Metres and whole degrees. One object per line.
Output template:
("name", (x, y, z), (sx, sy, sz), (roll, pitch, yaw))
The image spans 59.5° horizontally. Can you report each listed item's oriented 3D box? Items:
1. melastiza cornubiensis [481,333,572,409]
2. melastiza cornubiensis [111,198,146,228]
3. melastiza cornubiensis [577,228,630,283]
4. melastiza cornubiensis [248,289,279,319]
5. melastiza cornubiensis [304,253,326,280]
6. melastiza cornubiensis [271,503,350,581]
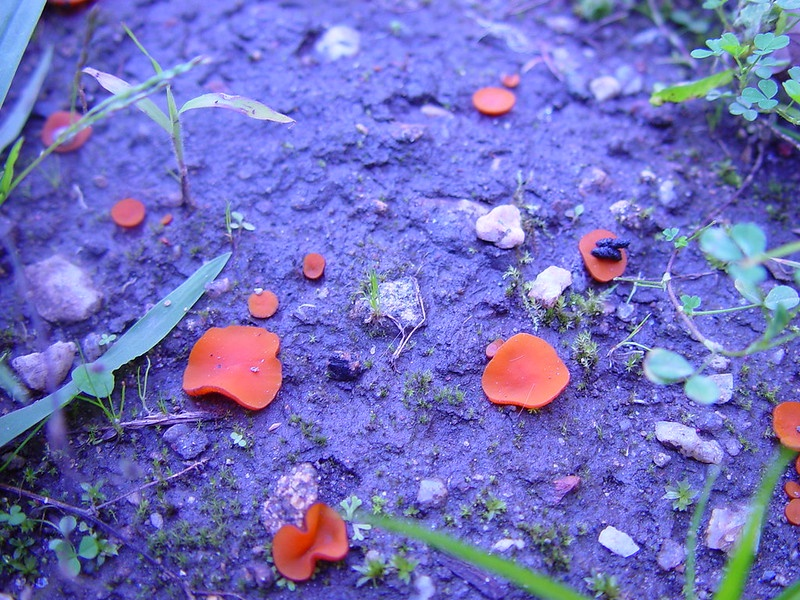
("melastiza cornubiensis", (0.540, 0.334, 3.077), (0.363, 0.100, 0.313), (-41, 79, -4))
("melastiza cornubiensis", (-1.352, -0.431, 3.475), (0.162, 0.054, 0.147), (16, 81, 7))
("melastiza cornubiensis", (0.966, -0.211, 3.319), (0.208, 0.120, 0.257), (-15, 78, 1))
("melastiza cornubiensis", (-0.644, 0.021, 3.282), (0.144, 0.029, 0.140), (2, 80, 4))
("melastiza cornubiensis", (-0.411, -0.158, 3.316), (0.108, 0.034, 0.126), (5, 80, 5))
("melastiza cornubiensis", (-0.399, 0.992, 2.871), (0.217, 0.091, 0.295), (7, 115, 11))
